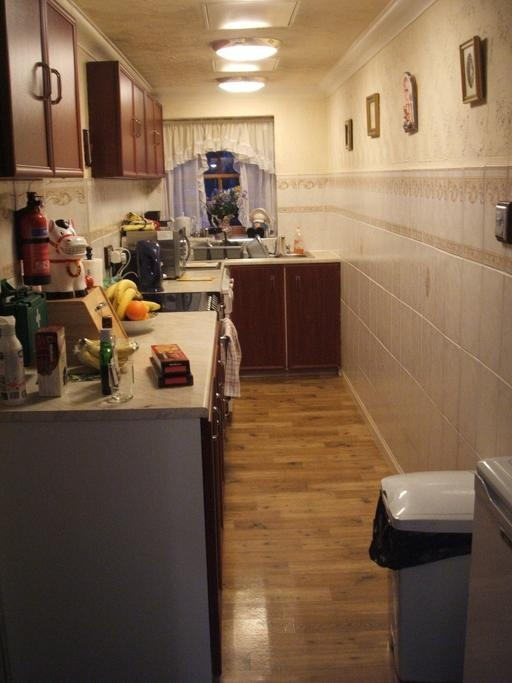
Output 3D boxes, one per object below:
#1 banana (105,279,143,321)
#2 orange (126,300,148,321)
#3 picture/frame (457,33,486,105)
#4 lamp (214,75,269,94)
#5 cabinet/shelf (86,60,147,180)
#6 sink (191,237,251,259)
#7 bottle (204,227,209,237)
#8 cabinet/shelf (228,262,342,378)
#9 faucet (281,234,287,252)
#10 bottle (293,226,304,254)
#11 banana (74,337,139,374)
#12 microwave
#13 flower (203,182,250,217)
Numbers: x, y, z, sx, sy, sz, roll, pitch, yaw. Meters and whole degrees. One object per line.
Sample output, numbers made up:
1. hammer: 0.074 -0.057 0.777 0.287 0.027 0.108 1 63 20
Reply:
1. banana: -0.570 -0.192 2.282 0.112 0.057 0.208 3 35 -9
2. orange: -0.490 -0.121 2.254 0.080 0.083 0.082 -4 -33 29
3. picture/frame: 0.680 -0.835 1.696 0.058 0.211 0.228 0 10 14
4. lamp: -0.119 -2.051 4.285 0.316 0.075 0.375 2 12 25
5. cabinet/shelf: -0.854 -1.275 3.184 0.235 0.626 0.397 -4 10 -6
6. sink: -0.343 -0.881 5.173 0.504 0.193 0.780 -3 10 -3
7. bottle: -0.521 -1.126 5.622 0.044 0.085 0.203 -4 10 -9
8. cabinet/shelf: 0.248 -0.237 4.690 0.931 0.900 0.366 -1 6 -2
9. faucet: 0.261 -0.909 5.120 0.041 0.154 0.205 -1 10 9
10. bottle: 0.426 -0.983 5.325 0.099 0.259 0.383 -2 10 6
11. banana: -0.442 0.033 1.560 0.111 0.066 0.145 4 -1 -5
12. microwave: -0.722 -0.690 3.881 0.365 0.322 0.492 -1 15 -1
13. flower: -0.309 -1.482 5.673 0.384 0.417 0.299 8 47 -7
